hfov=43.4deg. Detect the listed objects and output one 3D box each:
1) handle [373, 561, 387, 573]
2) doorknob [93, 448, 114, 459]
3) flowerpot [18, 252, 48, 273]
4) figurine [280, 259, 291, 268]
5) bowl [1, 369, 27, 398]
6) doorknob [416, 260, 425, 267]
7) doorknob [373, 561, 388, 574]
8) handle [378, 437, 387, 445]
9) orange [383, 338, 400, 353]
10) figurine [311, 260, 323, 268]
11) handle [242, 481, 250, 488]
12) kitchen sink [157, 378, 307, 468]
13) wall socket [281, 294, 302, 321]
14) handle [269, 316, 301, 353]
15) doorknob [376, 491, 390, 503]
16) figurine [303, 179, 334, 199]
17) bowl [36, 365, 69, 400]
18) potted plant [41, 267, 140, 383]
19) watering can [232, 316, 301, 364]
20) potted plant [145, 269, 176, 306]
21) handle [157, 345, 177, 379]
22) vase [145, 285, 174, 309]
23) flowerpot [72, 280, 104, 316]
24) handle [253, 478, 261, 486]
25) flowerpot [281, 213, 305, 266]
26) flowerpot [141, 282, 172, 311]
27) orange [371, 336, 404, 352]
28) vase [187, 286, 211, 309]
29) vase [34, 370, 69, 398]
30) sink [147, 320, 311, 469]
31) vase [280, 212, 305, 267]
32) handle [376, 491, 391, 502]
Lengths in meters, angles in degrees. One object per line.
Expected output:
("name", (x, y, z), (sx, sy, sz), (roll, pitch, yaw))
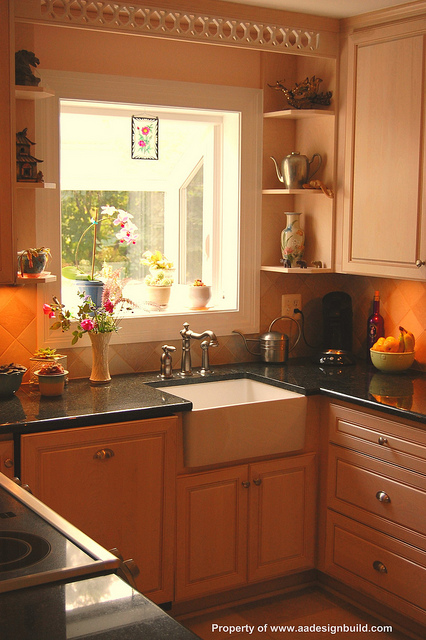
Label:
("handle", (0.674, 0.998, 2.162), (0.034, 0.008, 0.034), (27, -6, -3))
("doorknob", (-0.396, 0.479, 1.921), (0.046, 0.016, 0.043), (0, 3, -27))
("flowerpot", (-0.727, -0.233, 2.166), (0.087, 0.067, 0.085), (1, 7, 13))
("figurine", (0.389, -0.307, 2.898), (0.039, 0.045, 0.071), (1, -1, -26))
("bowl", (-0.783, 0.248, 2.104), (0.093, 0.067, 0.093), (-2, 3, 0))
("doorknob", (0.913, -0.251, 2.357), (0.016, 0.031, 0.042), (1, -1, -13))
("doorknob", (0.679, 0.998, 2.163), (0.081, 0.019, 0.082), (0, 2, 24))
("handle", (0.670, 0.476, 2.109), (0.030, 0.018, 0.017), (-4, 7, -33))
("orange", (0.863, 0.126, 2.589), (0.064, 0.057, 0.070), (-5, 24, 36))
("figurine", (0.561, -0.303, 2.880), (0.043, 0.044, 0.028), (1, 0, -20))
("handle", (0.142, 0.695, 2.262), (0.021, 0.012, 0.029), (1, -3, -4))
("kitchen sink", (0.060, 0.446, 2.432), (0.607, 0.315, 0.450), (1, -1, -28))
("wall socket", (0.445, -0.075, 3.064), (0.149, 0.172, 0.018), (-3, 6, -33))
("handle", (0.393, 0.074, 2.975), (0.159, 0.203, 0.035), (-17, 18, -2))
("doorknob", (0.673, 0.698, 2.126), (0.016, 0.036, 0.063), (1, -1, -26))
("figurine", (0.549, -0.687, 2.794), (0.102, 0.040, 0.123), (14, 15, 24))
("bowl", (-0.652, 0.256, 2.203), (0.125, 0.116, 0.125), (0, 1, 0))
("potted plant", (-0.533, 0.026, 2.348), (0.417, 0.475, 0.271), (-1, -7, -29))
("watering can", (0.361, 0.100, 2.995), (0.249, 0.282, 0.284), (-7, 14, -37))
("potted plant", (-0.294, -0.177, 2.916), (0.204, 0.269, 0.171), (0, 4, -21))
("handle", (-0.225, 0.199, 2.565), (0.081, 0.154, 0.300), (1, -1, -6))
("vase", (-0.283, -0.123, 2.881), (0.123, 0.098, 0.123), (1, -1, -6))
("flowerpot", (-0.622, -0.096, 2.630), (0.184, 0.192, 0.175), (0, -1, -20))
("handle", (0.188, 0.691, 2.285), (0.032, 0.013, 0.045), (0, 3, -1))
("flowerpot", (0.456, -0.433, 2.927), (0.169, 0.291, 0.097), (2, -2, -38))
("flowerpot", (-0.303, -0.125, 2.882), (0.144, 0.115, 0.145), (2, 1, 15))
("orange", (0.863, 0.106, 2.616), (0.086, 0.035, 0.085), (-8, 12, -28))
("vase", (-0.071, -0.120, 2.879), (0.105, 0.090, 0.117), (3, 5, 22))
("vase", (-0.635, 0.250, 2.136), (0.098, 0.074, 0.097), (0, 1, -35))
("sink", (0.161, 0.249, 2.561), (0.707, 0.533, 0.685), (-9, 14, 18))
("vase", (0.435, -0.442, 2.923), (0.128, 0.286, 0.127), (1, 6, 4))
("handle", (0.673, 0.700, 2.119), (0.010, 0.027, 0.038), (27, 17, -31))
